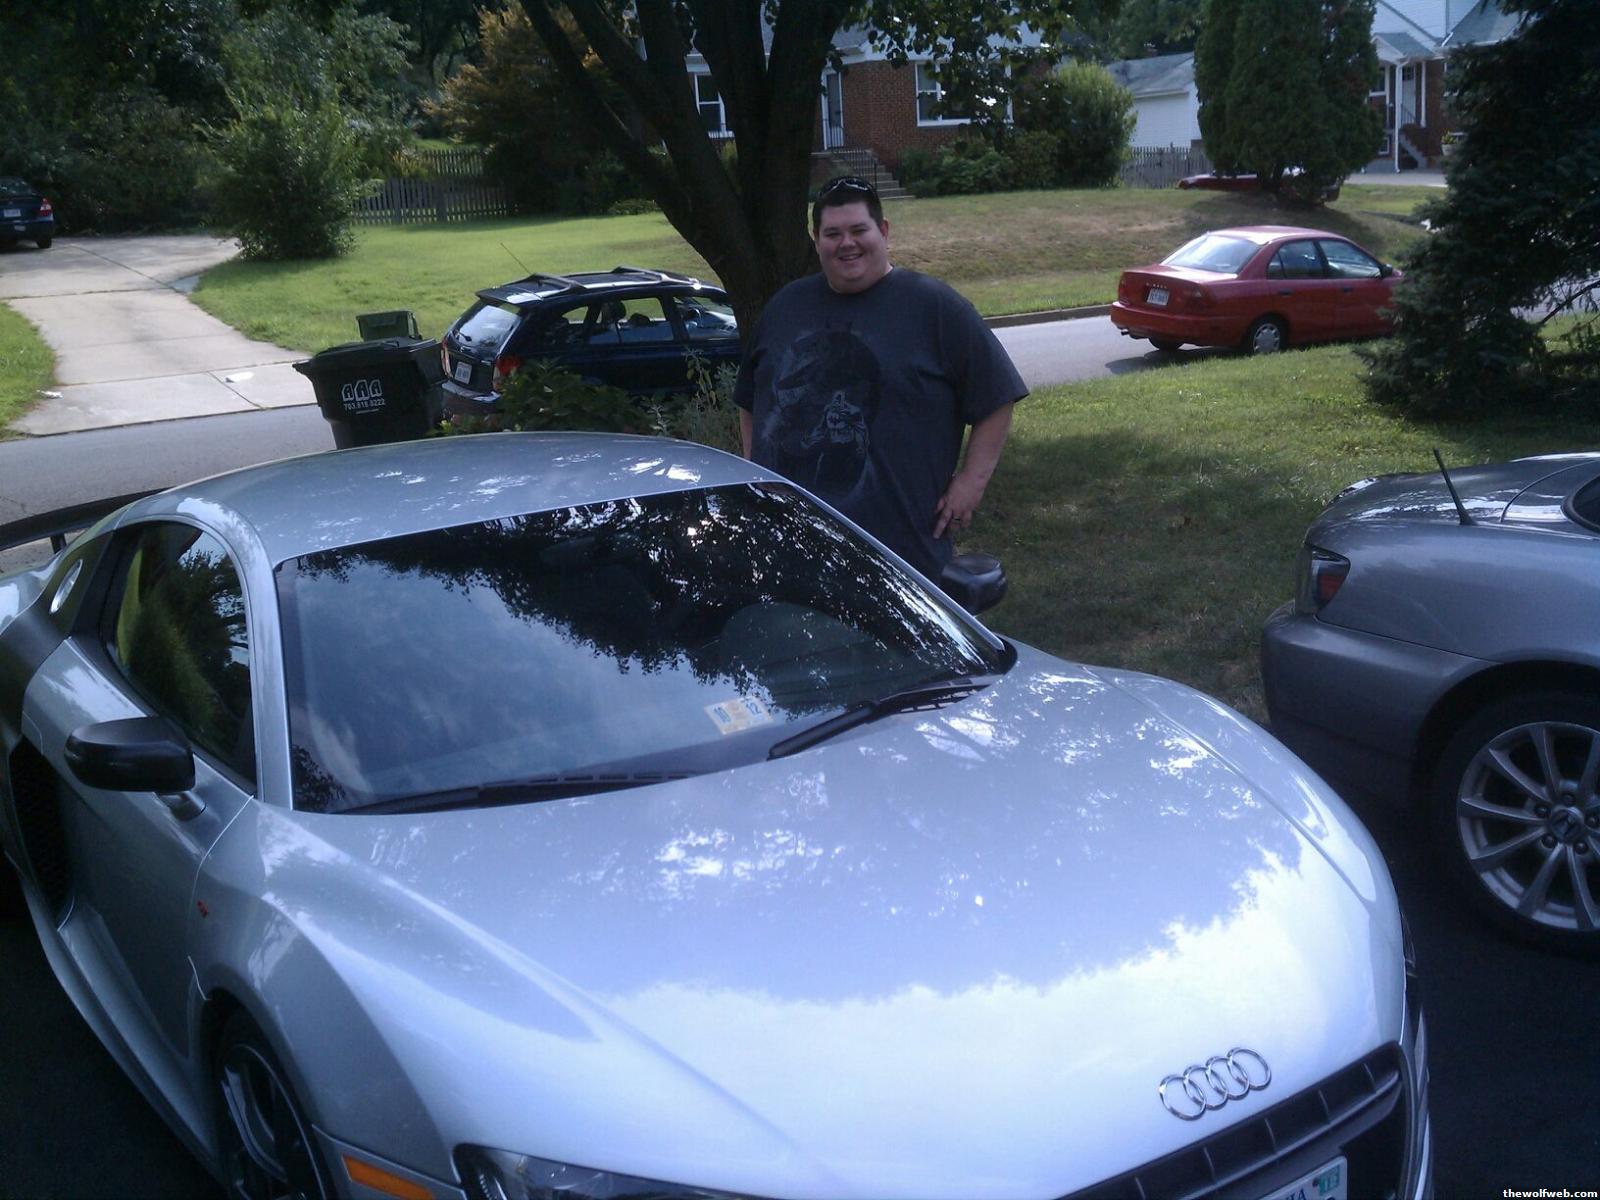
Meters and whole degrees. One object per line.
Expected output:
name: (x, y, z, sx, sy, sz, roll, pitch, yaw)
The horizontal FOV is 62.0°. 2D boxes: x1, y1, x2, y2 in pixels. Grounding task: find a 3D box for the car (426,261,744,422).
car: (-1.867, -2.337, 11.552, 2.363, 1.361, 1.392, -15, 24, -23)
